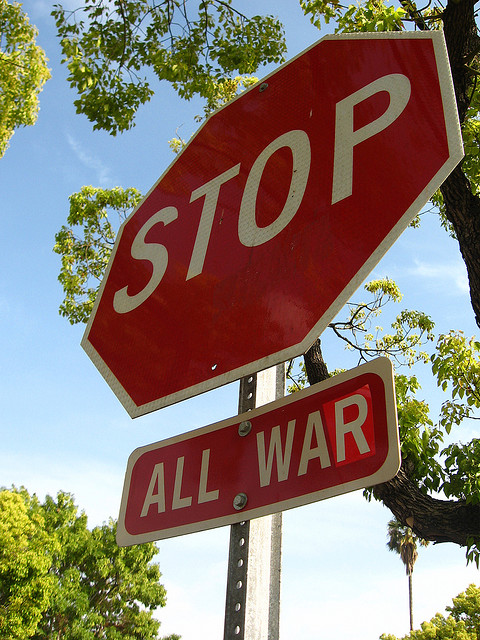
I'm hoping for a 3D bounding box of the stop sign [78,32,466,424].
[{"bbox_3d":[0.029,-0.291,2.037,0.025,0.997,1.322,29,-36,-35],"label":"stop sign"}]
